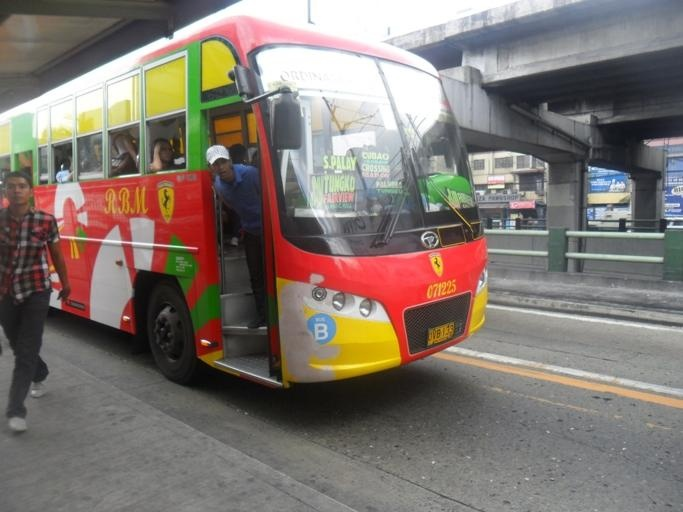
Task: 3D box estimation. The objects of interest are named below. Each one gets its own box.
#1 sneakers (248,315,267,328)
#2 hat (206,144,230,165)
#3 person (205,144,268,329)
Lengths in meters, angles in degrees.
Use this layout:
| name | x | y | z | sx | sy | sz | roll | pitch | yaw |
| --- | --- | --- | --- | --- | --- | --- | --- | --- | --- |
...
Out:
| name | x | y | z | sx | sy | sz | roll | pitch | yaw |
| --- | --- | --- | --- | --- | --- | --- | --- | --- | --- |
| sneakers | -0.872 | 0.690 | 5.327 | 0.237 | 0.125 | 0.121 | 4 | 9 | 32 |
| hat | -1.290 | -1.028 | 5.262 | 0.241 | 0.209 | 0.424 | -8 | 1 | -13 |
| person | -1.095 | -0.216 | 5.388 | 0.545 | 1.874 | 0.446 | -1 | 7 | -3 |
